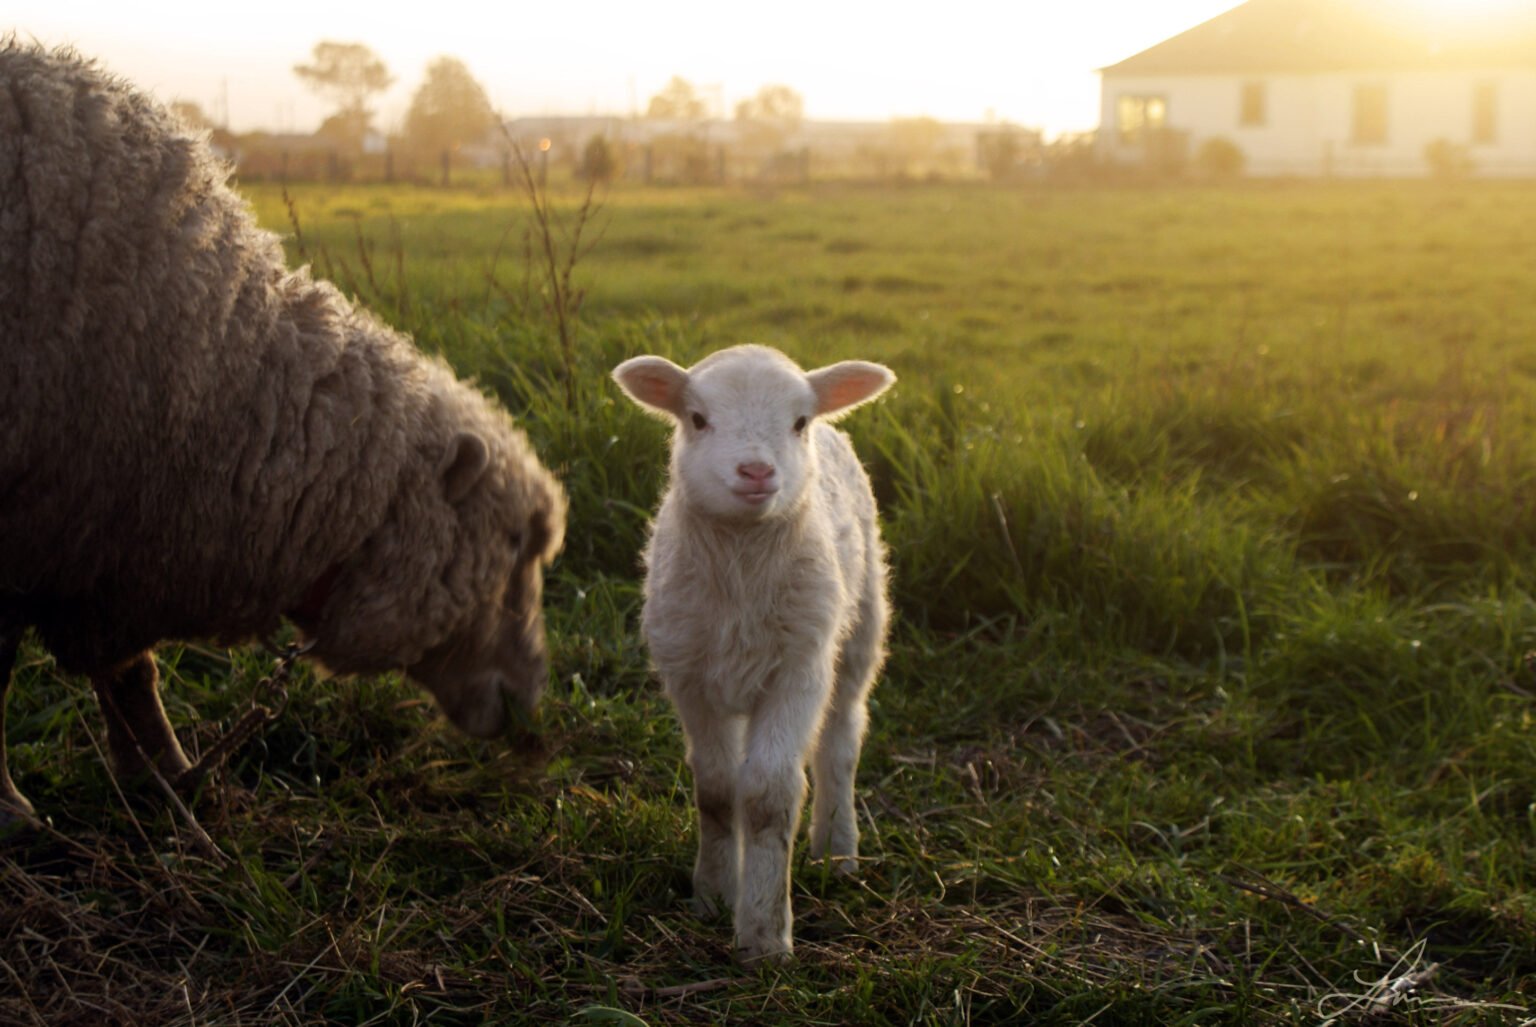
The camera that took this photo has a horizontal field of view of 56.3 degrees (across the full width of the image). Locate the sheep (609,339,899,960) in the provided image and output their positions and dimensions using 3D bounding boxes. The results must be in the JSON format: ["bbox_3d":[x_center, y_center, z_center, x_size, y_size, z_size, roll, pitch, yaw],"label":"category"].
[{"bbox_3d":[-0.037,0.401,5.405,0.851,1.989,1.371,4,19,17],"label":"sheep"}]
